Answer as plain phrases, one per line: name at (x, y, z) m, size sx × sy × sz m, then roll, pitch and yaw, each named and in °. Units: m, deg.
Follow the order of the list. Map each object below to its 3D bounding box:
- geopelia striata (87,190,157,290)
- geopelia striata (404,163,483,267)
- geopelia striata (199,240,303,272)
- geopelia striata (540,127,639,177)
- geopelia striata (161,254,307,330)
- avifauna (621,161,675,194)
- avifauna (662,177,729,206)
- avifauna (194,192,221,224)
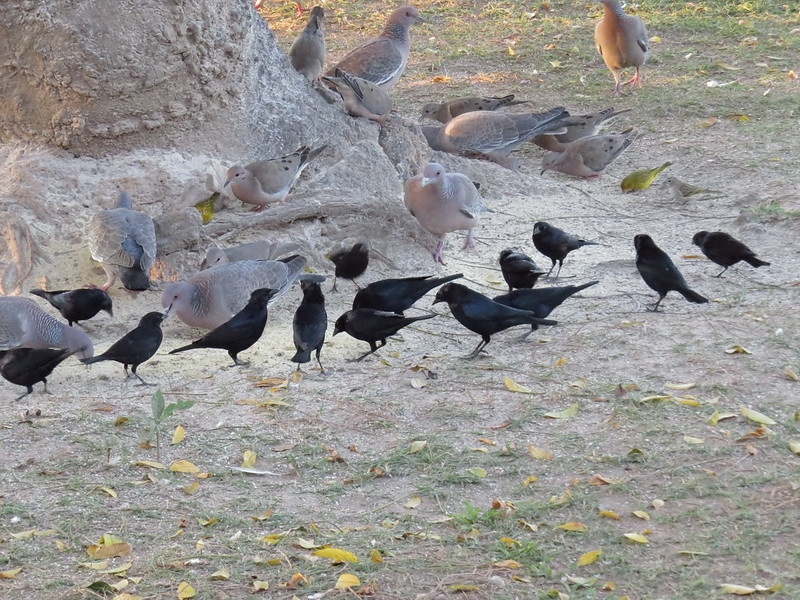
geopelia striata at (-2.453, -0.411, 9.805) m, size 0.619 × 0.812 × 0.655 m, roll -13°, pitch 27°, yaw -10°
geopelia striata at (0.419, -0.870, 11.082) m, size 0.888 × 0.724 × 1.143 m, roll -4°, pitch 4°, yaw 13°
geopelia striata at (-1.381, -0.432, 10.104) m, size 0.996 × 0.205 × 0.423 m, roll -8°, pitch -7°, yaw -10°
geopelia striata at (2.260, -1.704, 13.110) m, size 1.153 × 0.550 × 0.399 m, roll -3°, pitch 27°, yaw 3°
geopelia striata at (-1.583, -0.092, 9.782) m, size 1.529 × 0.552 × 1.165 m, roll -2°, pitch 15°, yaw -10°
avifauna at (2.799, -1.399, 12.511) m, size 0.527 × 0.417 × 0.631 m, roll -3°, pitch 22°, yaw 7°
avifauna at (3.267, -1.216, 12.159) m, size 0.441 × 0.276 × 0.576 m, roll -19°, pitch 25°, yaw -29°
avifauna at (-1.865, -0.872, 10.638) m, size 0.159 × 0.391 × 0.182 m, roll 37°, pitch -16°, yaw 7°
